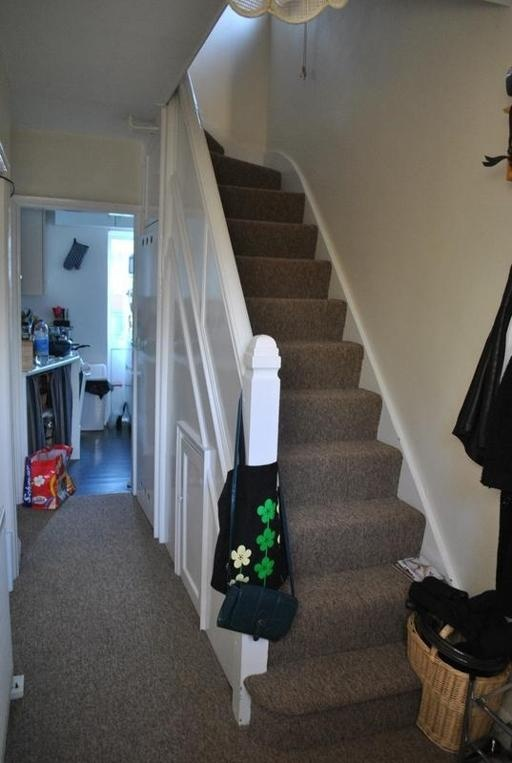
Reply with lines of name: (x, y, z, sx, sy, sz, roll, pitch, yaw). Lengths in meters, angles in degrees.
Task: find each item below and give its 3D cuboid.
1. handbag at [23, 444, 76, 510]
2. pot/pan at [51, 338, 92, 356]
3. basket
handbag: (-1.357, 0.504, 3.798, 0.225, 0.401, 0.486, 2, 7, -2)
pot/pan: (-1.636, -0.282, 4.867, 0.176, 0.119, 0.272, 0, 8, -1)
basket: (0.575, 0.909, 1.832, 0.240, 0.338, 0.356, 6, 26, -7)
